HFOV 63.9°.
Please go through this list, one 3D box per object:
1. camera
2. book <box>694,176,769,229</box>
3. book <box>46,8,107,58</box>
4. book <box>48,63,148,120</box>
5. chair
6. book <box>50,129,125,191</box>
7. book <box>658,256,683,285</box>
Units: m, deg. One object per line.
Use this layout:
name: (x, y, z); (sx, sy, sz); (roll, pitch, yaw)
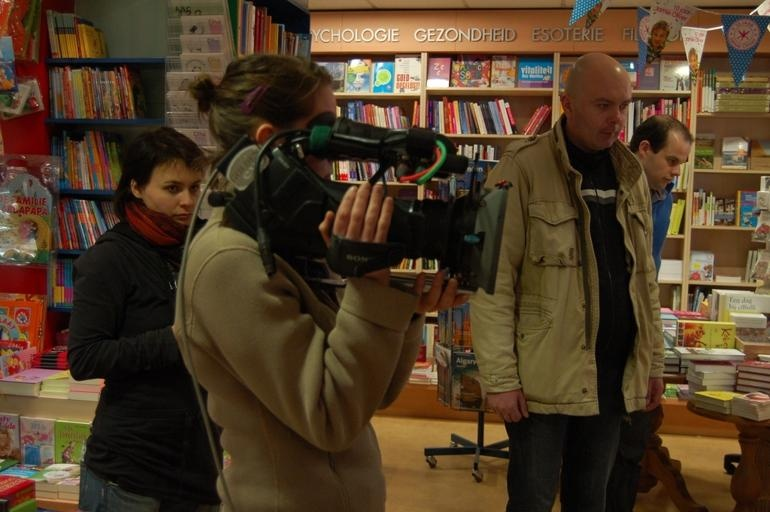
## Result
camera: (-0.085, -0.160, 1.852); (0.824, 0.454, 0.405); (5, 14, -5)
book: (3.309, -0.528, 5.955); (0.732, 0.511, 0.308); (2, 3, 0)
book: (-2.080, -1.475, 4.145); (0.184, 0.316, 0.330); (-3, 13, 13)
book: (-1.955, -1.085, 4.153); (0.606, 0.353, 0.104); (3, 3, 8)
chair: (0.650, 1.243, 4.604); (0.619, 0.668, 0.580); (4, -3, -43)
book: (-1.999, -0.619, 4.334); (0.492, 0.485, 0.398); (2, 3, -6)
book: (2.727, 0.136, 6.057); (0.299, 0.282, 0.296); (2, -1, 8)
